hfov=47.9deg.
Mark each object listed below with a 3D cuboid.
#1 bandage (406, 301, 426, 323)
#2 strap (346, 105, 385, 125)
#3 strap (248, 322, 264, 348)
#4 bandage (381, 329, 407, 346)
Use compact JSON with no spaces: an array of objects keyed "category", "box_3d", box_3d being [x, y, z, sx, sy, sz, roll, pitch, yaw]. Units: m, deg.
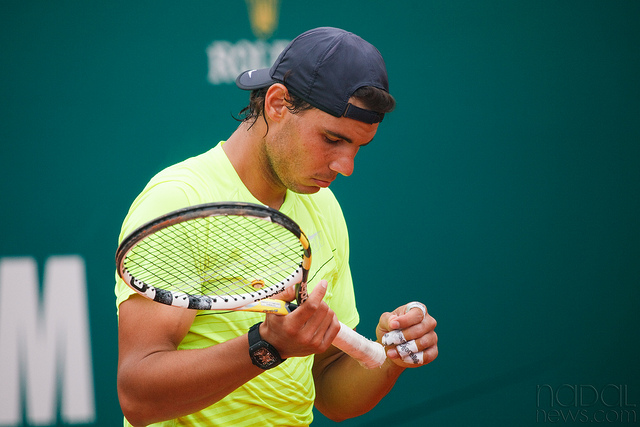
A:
[{"category":"bandage","box_3d":[0.569,0.593,4.321,0.122,0.117,0.108,-5,0,-13]},{"category":"strap","box_3d":[0.250,-0.553,4.184,0.153,0.072,0.113,21,1,-5]},{"category":"strap","box_3d":[-0.354,0.656,3.940,0.071,0.121,0.106,-4,-32,6]},{"category":"bandage","box_3d":[0.429,0.740,4.231,0.119,0.080,0.053,-8,-7,23]}]
